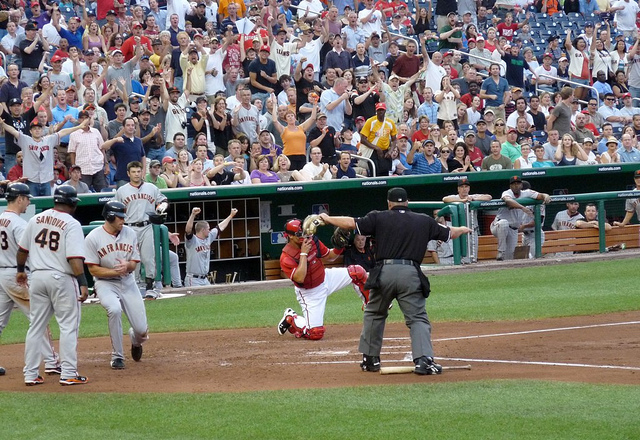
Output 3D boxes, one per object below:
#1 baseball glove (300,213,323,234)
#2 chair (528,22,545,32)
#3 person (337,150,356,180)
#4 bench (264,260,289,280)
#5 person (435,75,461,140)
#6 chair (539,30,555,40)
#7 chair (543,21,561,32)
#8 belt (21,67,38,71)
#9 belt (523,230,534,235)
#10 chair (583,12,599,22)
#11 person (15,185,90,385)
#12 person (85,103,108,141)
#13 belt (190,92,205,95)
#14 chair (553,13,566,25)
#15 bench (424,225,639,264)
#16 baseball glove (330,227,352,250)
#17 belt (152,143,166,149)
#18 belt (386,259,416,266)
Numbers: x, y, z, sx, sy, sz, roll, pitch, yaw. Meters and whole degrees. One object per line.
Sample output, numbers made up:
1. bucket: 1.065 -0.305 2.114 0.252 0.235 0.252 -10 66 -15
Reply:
1. baseball glove: -0.137 0.052 20.988 0.294 0.399 0.210 50 14 29
2. chair: 7.076 -6.293 39.957 0.400 0.482 0.397 0 3 -2
3. person: 0.594 -1.323 30.054 0.739 0.760 0.483 -1 5 -14
4. bench: -1.014 1.139 28.300 0.649 0.458 0.350 0 -2 -25
5. person: 3.423 -2.765 32.686 0.727 2.175 0.687 -3 0 -10
6. chair: 7.375 -6.030 39.760 0.382 0.506 0.423 -1 3 -6
7. chair: 7.634 -6.349 40.179 0.360 0.445 0.361 -1 4 -7
8. belt: -7.051 -3.678 29.891 0.360 0.086 0.065 0 11 7
9. belt: 5.071 0.289 29.682 0.223 0.114 0.052 0 12 10
10. chair: 9.019 -6.761 40.768 0.538 0.259 0.315 -6 12 -21
11. person: -4.524 1.130 20.913 1.107 3.306 1.068 -3 12 -9
12. person: -5.138 -2.354 28.660 0.582 0.832 0.300 1 32 36
13. belt: -3.100 -3.188 30.886 0.330 0.068 0.085 -5 12 -14
14. chair: 7.931 -6.690 40.632 0.448 0.428 0.362 1 0 7
15. bench: 6.375 0.475 30.272 5.480 0.918 0.817 -2 9 -11
16. baseball glove: 0.353 0.314 21.721 0.400 0.266 0.324 -18 4 20
17. belt: -3.836 -1.755 29.318 0.067 0.093 0.353 8 15 38
18. belt: 1.371 0.707 20.802 0.476 0.093 0.055 -1 11 4
